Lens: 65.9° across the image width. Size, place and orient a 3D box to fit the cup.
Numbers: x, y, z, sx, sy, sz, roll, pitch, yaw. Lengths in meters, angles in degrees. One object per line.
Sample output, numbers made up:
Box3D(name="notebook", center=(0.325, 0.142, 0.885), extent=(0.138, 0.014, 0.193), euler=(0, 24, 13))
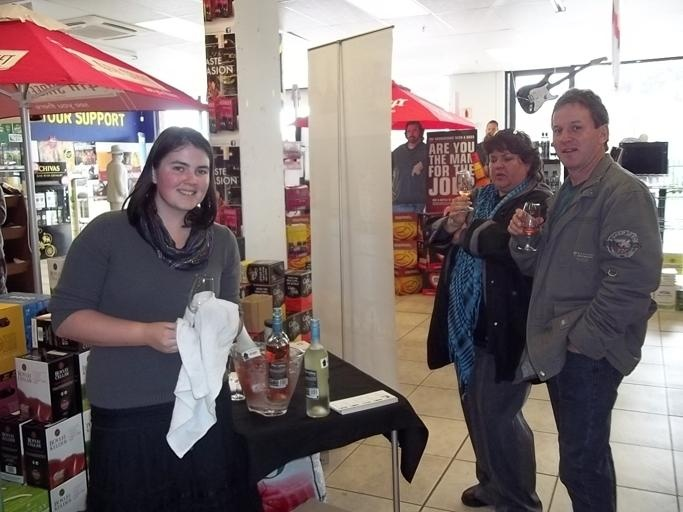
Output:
Box3D(name="cup", center=(-0.285, 0.477, 2.115), extent=(0.264, 0.238, 0.288), euler=(0, -5, 0))

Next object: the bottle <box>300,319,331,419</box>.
Box3D(name="bottle", center=(-0.100, 0.435, 2.128), extent=(0.101, 0.399, 0.179), euler=(-2, 6, -3))

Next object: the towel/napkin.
Box3D(name="towel/napkin", center=(-0.480, 0.421, 1.851), extent=(0.282, 0.600, 0.135), euler=(-4, 6, -20))

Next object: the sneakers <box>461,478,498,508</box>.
Box3D(name="sneakers", center=(0.787, 1.363, 3.039), extent=(0.178, 0.174, 0.100), euler=(2, -2, 37))

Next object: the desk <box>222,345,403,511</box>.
Box3D(name="desk", center=(-0.095, 0.686, 2.281), extent=(0.709, 0.416, 0.750), euler=(-7, 15, -23))

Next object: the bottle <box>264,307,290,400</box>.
Box3D(name="bottle", center=(-0.250, 0.375, 2.061), extent=(0.091, 0.379, 0.164), euler=(-6, 7, -30))
